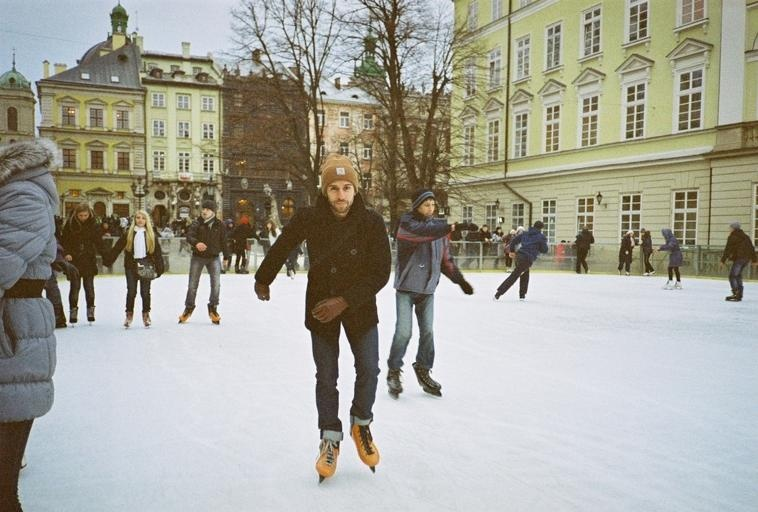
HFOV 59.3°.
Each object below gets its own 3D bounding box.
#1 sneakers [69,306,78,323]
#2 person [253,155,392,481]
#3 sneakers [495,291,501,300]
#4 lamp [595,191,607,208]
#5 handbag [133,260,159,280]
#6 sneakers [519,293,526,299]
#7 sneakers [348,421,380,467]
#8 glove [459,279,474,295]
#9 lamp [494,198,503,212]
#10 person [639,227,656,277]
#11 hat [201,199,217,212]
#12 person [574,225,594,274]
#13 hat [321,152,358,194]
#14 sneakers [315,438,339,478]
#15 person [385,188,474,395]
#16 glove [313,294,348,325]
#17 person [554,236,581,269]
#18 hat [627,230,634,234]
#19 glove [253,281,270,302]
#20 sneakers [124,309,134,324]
[{"bbox_3d":[-5.781,1.137,12.634,0.241,0.356,0.224,3,-7,-20],"label":"sneakers"},{"bbox_3d":[-0.463,0.571,6.540,1.122,3.057,0.839,0,10,0],"label":"person"},{"bbox_3d":[2.959,1.006,16.604,0.156,0.184,0.196,-4,3,-29],"label":"sneakers"},{"bbox_3d":[10.308,-2.625,30.947,0.176,0.690,0.655,-5,12,-29],"label":"lamp"},{"bbox_3d":[-4.173,0.245,11.960,0.364,0.365,0.189,-3,11,-20],"label":"handbag"},{"bbox_3d":[3.615,1.005,16.733,0.189,0.196,0.106,1,7,2],"label":"sneakers"},{"bbox_3d":[-0.143,1.861,6.614,0.183,0.567,0.267,-19,-16,-9],"label":"sneakers"},{"bbox_3d":[1.150,0.414,8.788,0.128,0.220,0.073,-33,1,16],"label":"glove"},{"bbox_3d":[6.712,-2.871,37.326,0.542,1.161,0.572,-2,7,7],"label":"lamp"},{"bbox_3d":[10.693,-0.127,26.473,0.547,1.867,1.550,5,11,23],"label":"person"},{"bbox_3d":[-3.257,-0.981,12.718,0.268,0.241,0.303,11,5,5],"label":"hat"},{"bbox_3d":[8.667,-0.180,28.322,0.666,2.044,1.174,3,11,15],"label":"person"},{"bbox_3d":[-0.405,-0.797,6.635,0.370,0.408,0.478,-1,-8,-25],"label":"hat"},{"bbox_3d":[-0.507,1.955,6.424,0.218,0.377,0.271,-1,10,-7],"label":"sneakers"},{"bbox_3d":[0.508,0.458,8.459,0.782,2.515,0.863,1,10,3],"label":"person"},{"bbox_3d":[-0.474,0.526,6.432,0.329,0.283,0.221,-2,10,-10],"label":"glove"},{"bbox_3d":[8.396,-0.116,29.641,1.451,1.460,0.812,1,-2,-13],"label":"person"},{"bbox_3d":[10.511,-1.003,27.856,0.307,0.120,0.302,3,4,44],"label":"hat"},{"bbox_3d":[-1.173,0.365,6.691,0.223,0.234,0.163,1,2,28],"label":"glove"},{"bbox_3d":[-4.529,1.127,12.054,0.176,0.339,0.119,4,-9,6],"label":"sneakers"}]
